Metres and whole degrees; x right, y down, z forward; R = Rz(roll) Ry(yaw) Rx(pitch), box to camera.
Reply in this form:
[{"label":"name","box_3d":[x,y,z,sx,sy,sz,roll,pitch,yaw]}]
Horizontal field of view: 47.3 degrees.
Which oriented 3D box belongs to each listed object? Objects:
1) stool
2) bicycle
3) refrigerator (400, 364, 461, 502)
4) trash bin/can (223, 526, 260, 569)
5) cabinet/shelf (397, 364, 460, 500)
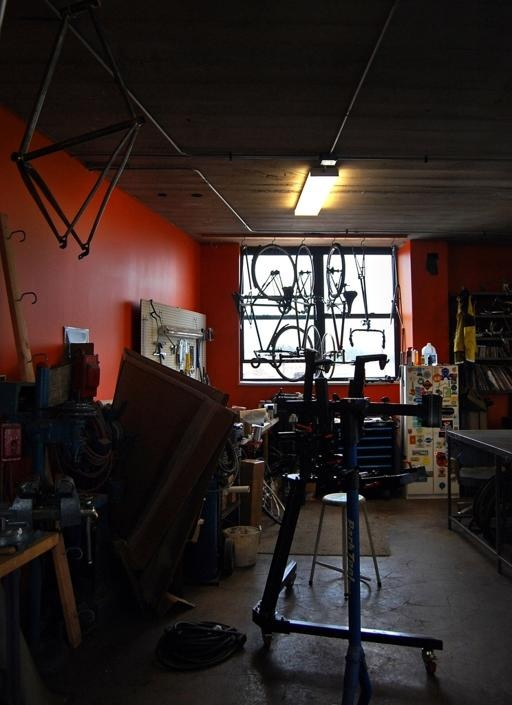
[{"label":"stool","box_3d":[0.556,1.194,3.670,0.374,0.541,0.398,-2,-5,36]},{"label":"bicycle","box_3d":[0.494,-0.550,6.582,1.012,1.246,2.063,1,0,-7]},{"label":"refrigerator","box_3d":[1.874,0.855,6.568,0.626,1.470,0.482,1,-4,-8]},{"label":"trash bin/can","box_3d":[-0.083,1.326,3.981,0.219,0.217,0.245,-6,-11,27]},{"label":"cabinet/shelf","box_3d":[1.867,0.859,6.570,0.636,1.476,0.490,1,-3,-19]}]
